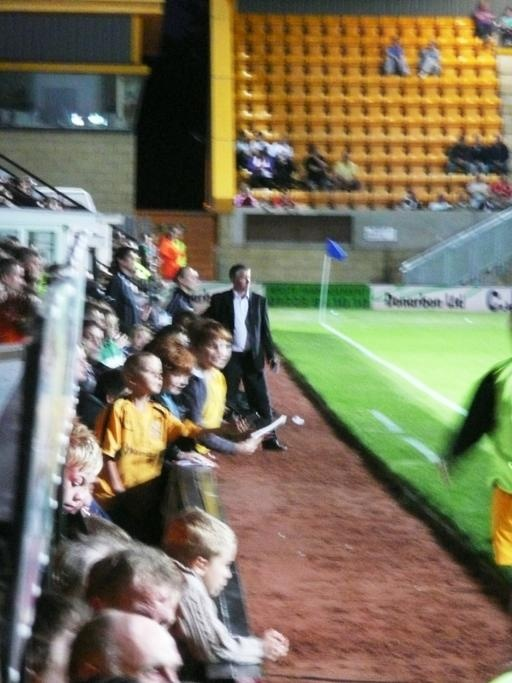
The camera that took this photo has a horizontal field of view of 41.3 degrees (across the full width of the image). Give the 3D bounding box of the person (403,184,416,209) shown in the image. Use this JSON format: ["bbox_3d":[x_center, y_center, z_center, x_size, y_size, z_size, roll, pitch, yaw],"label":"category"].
[{"bbox_3d":[3.605,-3.273,15.845,0.368,0.382,0.737,3,11,11],"label":"person"}]

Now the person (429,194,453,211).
[{"bbox_3d":[4.211,-3.166,15.477,0.532,0.371,0.724,3,11,12],"label":"person"}]

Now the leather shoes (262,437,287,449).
[{"bbox_3d":[0.149,0.770,5.089,0.130,0.043,0.107,9,-1,39],"label":"leather shoes"}]

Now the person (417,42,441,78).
[{"bbox_3d":[4.294,-6.910,16.683,0.572,0.702,0.403,3,13,10],"label":"person"}]

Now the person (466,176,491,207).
[{"bbox_3d":[5.053,-3.410,15.481,0.439,0.760,0.605,-5,14,-21],"label":"person"}]
